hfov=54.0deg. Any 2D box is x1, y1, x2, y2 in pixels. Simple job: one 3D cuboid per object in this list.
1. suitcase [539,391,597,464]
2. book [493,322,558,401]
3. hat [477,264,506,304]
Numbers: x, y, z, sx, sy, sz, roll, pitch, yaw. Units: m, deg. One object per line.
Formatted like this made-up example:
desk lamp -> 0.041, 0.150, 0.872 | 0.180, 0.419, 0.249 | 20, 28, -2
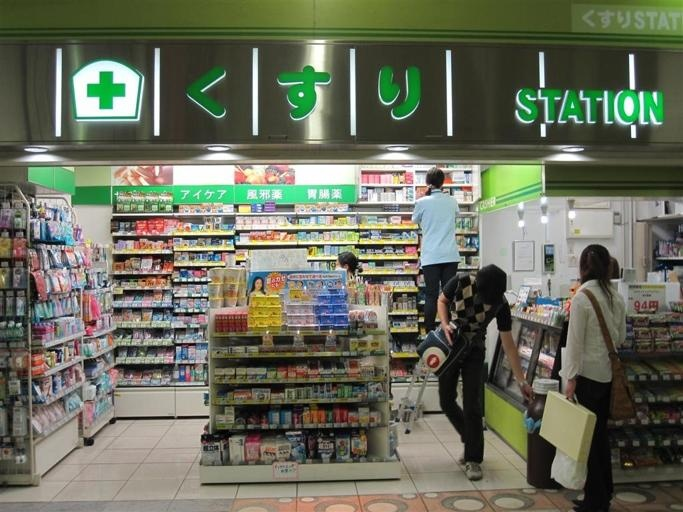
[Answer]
suitcase -> 2.006, 1.475, 5.927 | 0.166, 0.457, 0.500 | 7, 12, -26
book -> 1.964, 1.126, 7.051 | 0.294, 0.869, 0.880 | 9, -8, -5
hat -> 1.486, 0.265, 6.500 | 0.286, 0.359, 0.398 | 4, 8, 24
